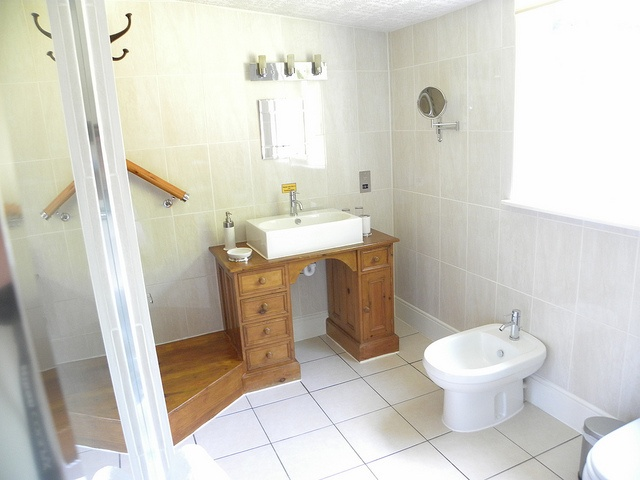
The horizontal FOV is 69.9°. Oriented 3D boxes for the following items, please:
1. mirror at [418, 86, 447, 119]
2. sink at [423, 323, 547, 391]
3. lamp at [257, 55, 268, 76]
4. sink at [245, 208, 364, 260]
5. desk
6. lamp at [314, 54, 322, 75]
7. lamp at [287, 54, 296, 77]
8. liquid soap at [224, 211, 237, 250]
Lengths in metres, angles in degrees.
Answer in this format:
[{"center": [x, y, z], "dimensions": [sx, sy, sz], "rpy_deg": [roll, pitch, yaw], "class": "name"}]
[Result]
[{"center": [0.817, -1.007, 3.341], "dimensions": [0.050, 0.216, 0.211], "rpy_deg": [-10, 17, -37], "class": "mirror"}, {"center": [0.951, 0.712, 2.738], "dimensions": [0.583, 0.227, 0.380], "rpy_deg": [-11, 20, -28], "class": "sink"}, {"center": [-0.417, -1.258, 3.286], "dimensions": [0.074, 0.151, 0.095], "rpy_deg": [-7, 17, -3], "class": "lamp"}, {"center": [-0.125, -0.065, 3.389], "dimensions": [0.781, 0.233, 0.513], "rpy_deg": [-13, 19, -20], "class": "sink"}, {"center": [-0.062, 0.467, 3.514], "dimensions": [1.265, 0.969, 0.589], "rpy_deg": [-9, 19, -19], "class": "desk"}, {"center": [-0.009, -1.330, 3.457], "dimensions": [0.074, 0.148, 0.056], "rpy_deg": [-13, 18, -23], "class": "lamp"}, {"center": [-0.219, -1.292, 3.370], "dimensions": [0.065, 0.156, 0.046], "rpy_deg": [-6, 17, -2], "class": "lamp"}, {"center": [-0.664, -0.067, 3.311], "dimensions": [0.082, 0.252, 0.179], "rpy_deg": [-8, 17, -9], "class": "liquid soap"}]
